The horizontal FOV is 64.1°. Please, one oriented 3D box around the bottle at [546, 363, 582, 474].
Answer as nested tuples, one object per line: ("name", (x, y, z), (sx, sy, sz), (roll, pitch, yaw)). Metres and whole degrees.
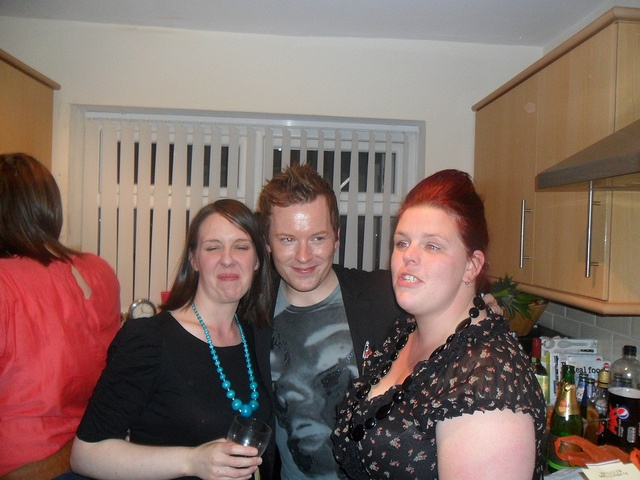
("bottle", (1.066, 0.775, 2.241), (0.132, 0.420, 0.265), (1, 0, 31))
